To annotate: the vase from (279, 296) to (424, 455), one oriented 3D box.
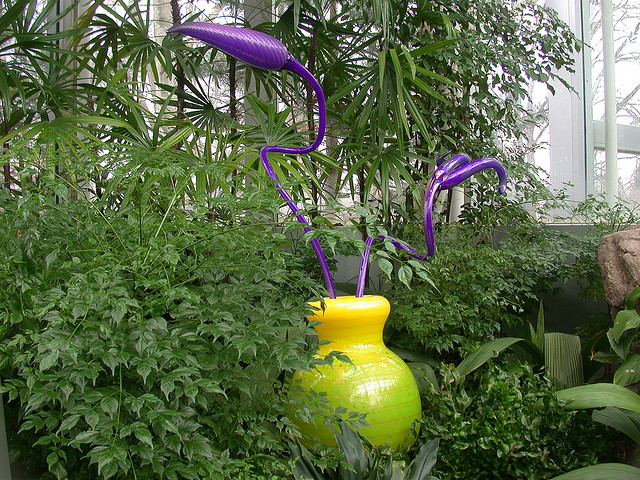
[{"bbox_3d":[0.124,0.462,1.827,0.494,0.547,0.507,-5,-4,27],"label":"vase"}]
